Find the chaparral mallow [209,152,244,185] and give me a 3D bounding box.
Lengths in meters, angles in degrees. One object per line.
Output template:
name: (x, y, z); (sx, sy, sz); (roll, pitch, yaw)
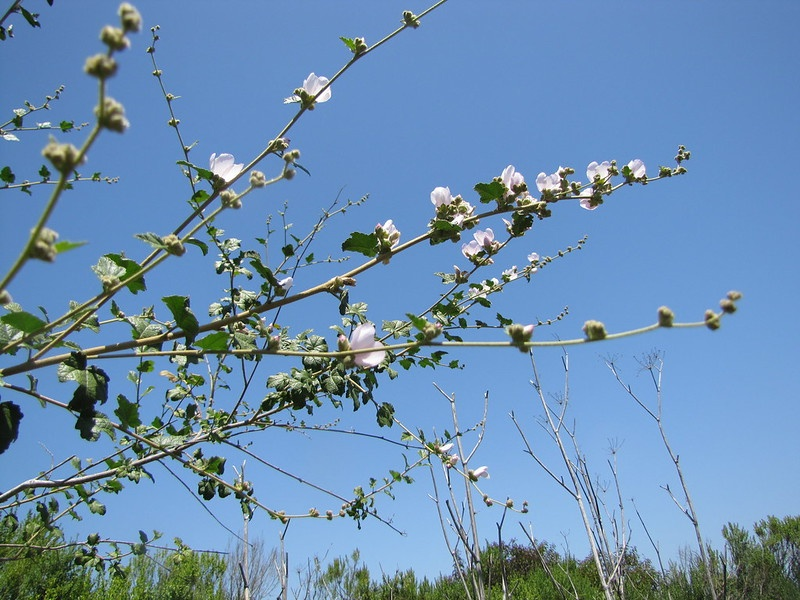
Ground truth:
chaparral mallow: (-1.317, -1.010, 5.180); (0.234, 0.220, 0.170); (8, -31, -16)
